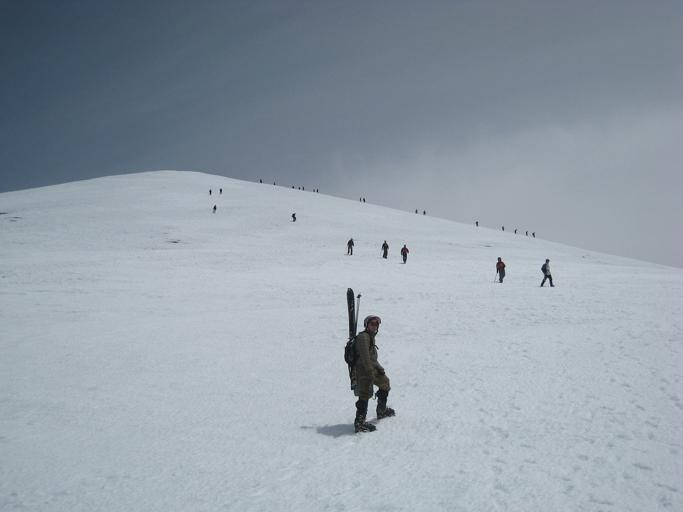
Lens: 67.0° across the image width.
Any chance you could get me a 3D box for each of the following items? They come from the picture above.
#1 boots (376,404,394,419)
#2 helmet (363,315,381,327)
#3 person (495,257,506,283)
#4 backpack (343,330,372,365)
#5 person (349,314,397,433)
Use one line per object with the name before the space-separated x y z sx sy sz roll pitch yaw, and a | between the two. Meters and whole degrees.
boots | 0.837 3.099 10.332 0.415 0.310 0.164 -7 0 -10
helmet | 0.581 1.326 10.162 0.245 0.342 0.197 4 16 0
person | 8.368 0.703 27.168 0.396 1.250 2.156 5 7 18
backpack | 0.393 1.832 10.130 0.637 0.697 0.460 2 -4 7
person | 0.522 2.236 9.971 0.825 2.112 1.042 6 7 25
